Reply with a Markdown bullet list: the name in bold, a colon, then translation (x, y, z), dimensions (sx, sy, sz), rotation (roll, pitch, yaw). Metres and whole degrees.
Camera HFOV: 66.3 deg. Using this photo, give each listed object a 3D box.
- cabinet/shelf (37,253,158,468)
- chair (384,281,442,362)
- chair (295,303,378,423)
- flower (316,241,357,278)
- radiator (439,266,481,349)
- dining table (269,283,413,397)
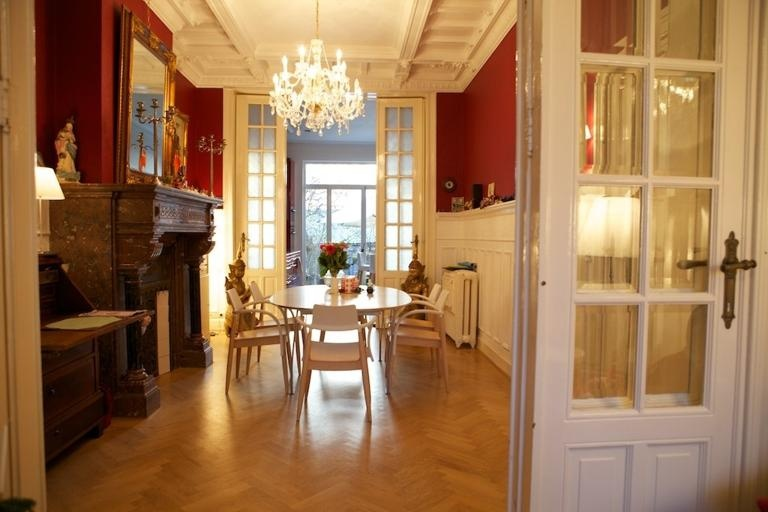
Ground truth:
- **cabinet/shelf**: translation (-2.157, 0.792, 4.350), dimensions (0.718, 1.092, 1.354), rotation (-2, 7, -10)
- **chair**: translation (0.339, 0.648, 5.758), dimensions (0.653, 0.972, 0.682), rotation (1, 3, -3)
- **chair**: translation (-0.430, 0.809, 5.146), dimensions (0.862, 1.251, 0.857), rotation (0, 6, -3)
- **flower**: translation (-0.498, 0.045, 5.773), dimensions (0.304, 0.343, 0.255), rotation (-3, 12, -11)
- **radiator**: translation (0.869, 0.589, 6.547), dimensions (0.351, 0.875, 0.882), rotation (-1, 4, -5)
- **dining table**: translation (-0.366, 0.795, 5.470), dimensions (1.023, 0.649, 1.091), rotation (-1, 7, 1)
